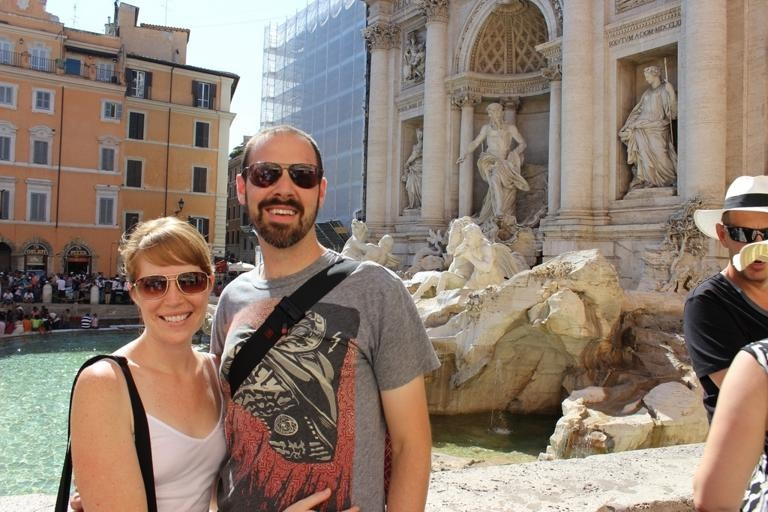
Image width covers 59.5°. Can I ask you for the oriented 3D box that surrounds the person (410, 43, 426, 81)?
[{"bbox_3d":[1.226,-6.918,23.999,0.301,1.393,0.774,-7,4,-33],"label":"person"}]

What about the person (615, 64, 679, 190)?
[{"bbox_3d":[6.604,-3.113,16.473,0.514,2.920,1.340,-7,4,-39],"label":"person"}]

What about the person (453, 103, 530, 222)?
[{"bbox_3d":[3.477,-2.786,20.035,1.555,3.524,1.170,-4,3,11],"label":"person"}]
